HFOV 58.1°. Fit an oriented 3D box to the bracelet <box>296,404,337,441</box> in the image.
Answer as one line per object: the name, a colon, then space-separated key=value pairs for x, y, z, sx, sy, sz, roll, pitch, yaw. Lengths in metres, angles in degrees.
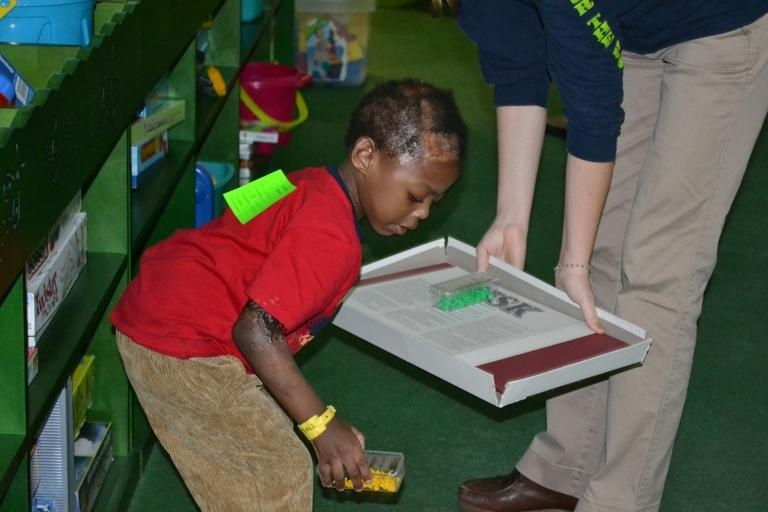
bracelet: x=-0.146 y=0.363 z=1.502 sx=0.031 sy=0.075 sz=0.077 roll=42 pitch=29 yaw=9

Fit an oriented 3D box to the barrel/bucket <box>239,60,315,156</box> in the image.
barrel/bucket: x=-0.630 y=-0.834 z=3.812 sx=0.434 sy=0.413 sz=0.379 roll=24 pitch=35 yaw=26
